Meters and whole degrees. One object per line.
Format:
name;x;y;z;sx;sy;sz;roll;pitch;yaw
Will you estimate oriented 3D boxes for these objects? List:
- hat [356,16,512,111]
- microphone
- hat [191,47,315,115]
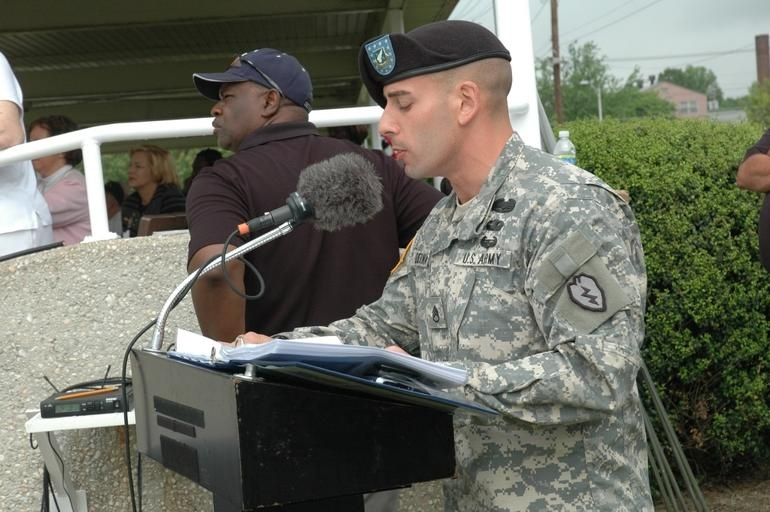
hat;0.147;-0.735;3.128;0.421;0.158;0.311;-12;-3;-12
microphone;-0.274;-0.233;3.334;0.574;0.235;0.297;-21;-4;-11
hat;-0.591;-0.821;3.870;0.446;0.235;0.289;19;2;-6
